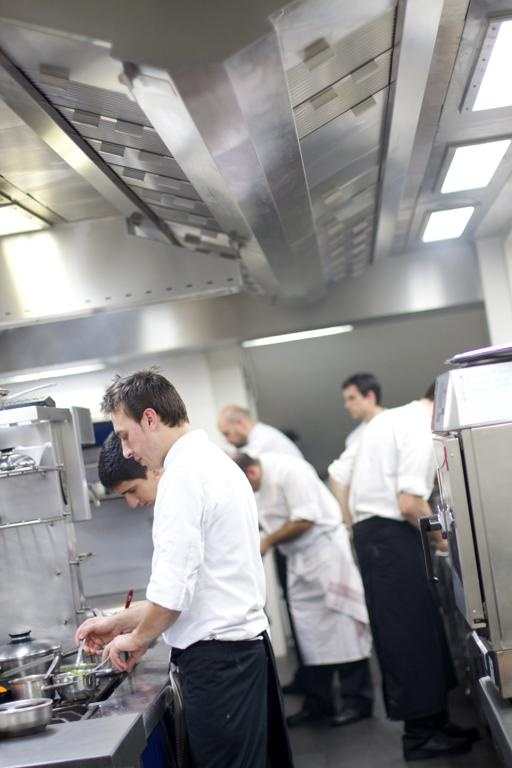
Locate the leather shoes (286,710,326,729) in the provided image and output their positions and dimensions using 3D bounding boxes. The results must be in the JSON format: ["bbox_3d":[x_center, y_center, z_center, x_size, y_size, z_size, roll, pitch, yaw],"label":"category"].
[{"bbox_3d":[0.201,1.297,2.226,0.117,0.072,0.030,-10,9,-3],"label":"leather shoes"}]

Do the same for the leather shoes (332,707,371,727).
[{"bbox_3d":[0.369,1.288,2.207,0.182,0.071,0.060,-4,38,-3],"label":"leather shoes"}]
